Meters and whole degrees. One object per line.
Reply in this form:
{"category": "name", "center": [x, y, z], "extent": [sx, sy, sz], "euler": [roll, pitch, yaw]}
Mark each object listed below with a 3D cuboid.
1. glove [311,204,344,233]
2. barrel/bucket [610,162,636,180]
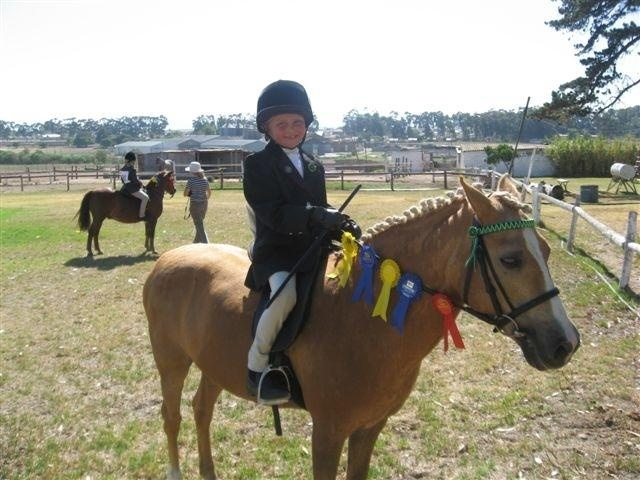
{"category": "glove", "center": [0.066, -0.188, 4.457], "extent": [0.170, 0.105, 0.244], "euler": [5, 17, -19]}
{"category": "barrel/bucket", "center": [14.256, -3.167, 24.243], "extent": [0.750, 0.852, 1.544], "euler": [3, 16, 18]}
